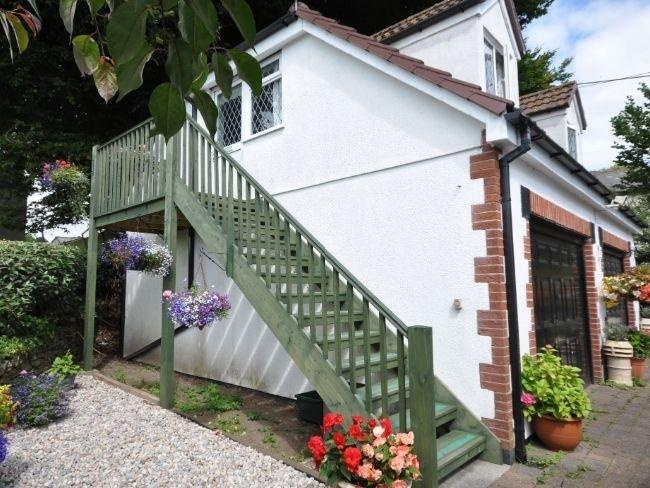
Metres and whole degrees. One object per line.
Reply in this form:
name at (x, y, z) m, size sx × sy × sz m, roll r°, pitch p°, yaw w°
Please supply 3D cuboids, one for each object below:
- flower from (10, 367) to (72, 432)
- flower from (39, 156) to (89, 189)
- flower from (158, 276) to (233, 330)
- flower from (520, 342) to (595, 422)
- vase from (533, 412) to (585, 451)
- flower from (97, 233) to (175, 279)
flower at (-4.320, 2.353, 7.912) m, size 0.794 × 0.649 × 0.668 m, roll -3°, pitch 6°, yaw -33°
flower at (-6.179, -1.618, 12.280) m, size 1.059 × 0.795 × 1.071 m, roll 2°, pitch 1°, yaw -30°
flower at (-1.913, 0.875, 7.744) m, size 0.726 × 0.656 × 0.756 m, roll -3°, pitch 9°, yaw -33°
flower at (3.029, 1.899, 7.140) m, size 0.916 × 0.872 × 0.946 m, roll -3°, pitch 2°, yaw -17°
vase at (3.271, 2.630, 7.197) m, size 0.635 × 0.455 × 0.644 m, roll 6°, pitch -15°, yaw -27°
flower at (-3.109, 0.182, 8.596) m, size 1.402 × 0.626 × 0.503 m, roll 5°, pitch 7°, yaw 39°
